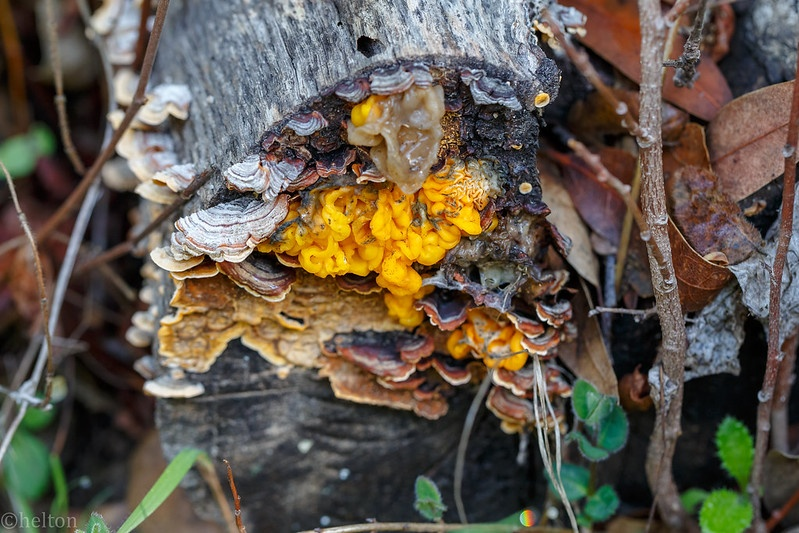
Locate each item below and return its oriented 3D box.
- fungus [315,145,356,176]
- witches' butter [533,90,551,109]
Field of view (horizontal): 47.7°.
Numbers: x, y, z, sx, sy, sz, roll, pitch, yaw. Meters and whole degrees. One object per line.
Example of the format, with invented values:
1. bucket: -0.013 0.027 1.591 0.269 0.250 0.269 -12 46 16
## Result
1. fungus: -0.271 -0.434 3.748 0.136 0.130 0.038 -17 -55 40
2. witches' butter: 0.583 -0.690 3.702 0.057 0.065 0.018 -13 11 -10
